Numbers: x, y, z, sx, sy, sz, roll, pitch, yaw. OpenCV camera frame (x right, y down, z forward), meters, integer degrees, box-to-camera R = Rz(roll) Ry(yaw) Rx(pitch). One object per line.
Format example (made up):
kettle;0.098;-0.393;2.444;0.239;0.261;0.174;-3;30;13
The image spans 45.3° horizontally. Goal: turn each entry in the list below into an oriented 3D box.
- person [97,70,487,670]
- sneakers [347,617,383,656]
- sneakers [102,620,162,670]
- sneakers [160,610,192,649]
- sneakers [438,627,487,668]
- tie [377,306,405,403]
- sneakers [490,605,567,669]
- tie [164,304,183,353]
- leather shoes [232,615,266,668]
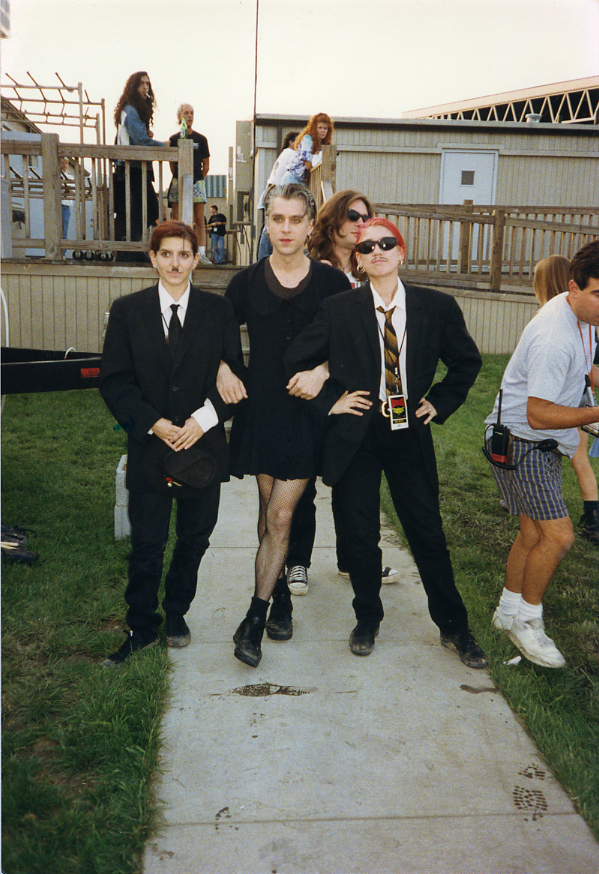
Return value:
person;-0.288;-0.076;3.319;1.210;2.136;0.702;-1;8;-25
sneakers;0.309;0.938;3.353;0.112;0.134;0.308;0;-8;10
sneakers;-0.770;0.943;3.221;0.090;0.126;0.288;-12;1;36
sneakers;-0.592;0.917;3.392;0.125;0.143;0.344;-1;-3;-12
sneakers;0.745;0.957;3.294;0.093;0.103;0.233;-2;9;-29
tie;0.412;-0.379;3.162;0.092;0.379;0.141;-2;8;-29
sneakers;1.057;0.923;3.335;0.116;0.141;0.348;7;12;-31
tie;-0.554;-0.484;3.197;0.066;0.216;0.048;7;8;34
leather shoes;-0.221;0.885;3.107;0.085;0.123;0.249;33;-12;-8
